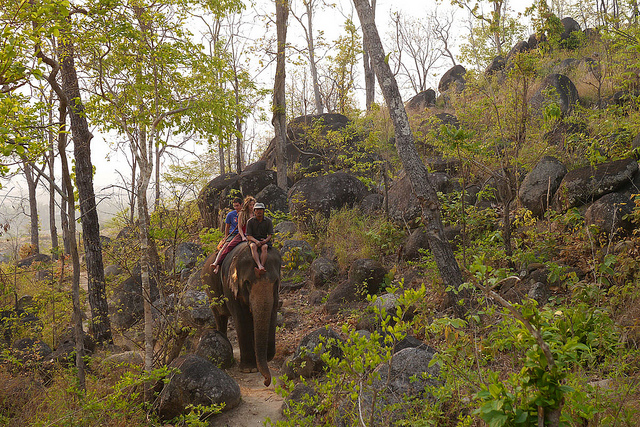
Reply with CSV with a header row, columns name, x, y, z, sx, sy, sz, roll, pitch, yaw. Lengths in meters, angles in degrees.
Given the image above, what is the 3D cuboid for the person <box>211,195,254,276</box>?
name,x,y,z,sx,sy,sz,roll,pitch,yaw
person,-2.158,0.333,13.089,0.706,1.089,1.979,6,11,6
